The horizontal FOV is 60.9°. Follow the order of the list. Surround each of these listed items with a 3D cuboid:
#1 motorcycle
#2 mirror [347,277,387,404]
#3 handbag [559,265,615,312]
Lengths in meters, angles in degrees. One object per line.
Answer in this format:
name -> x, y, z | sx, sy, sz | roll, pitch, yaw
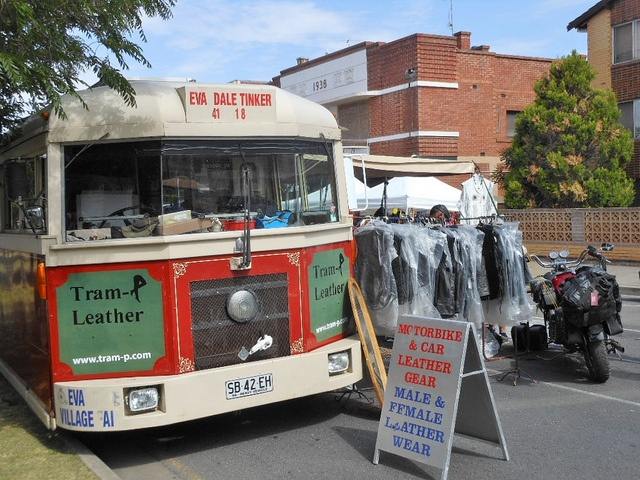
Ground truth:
motorcycle -> 3.959, 0.951, 8.344 | 1.268, 1.725, 2.764 | -6, 4, 12
mirror -> 0.553, 1.189, 6.574 | 0.248, 1.619, 1.189 | -2, 0, -8
handbag -> 3.673, 0.672, 7.399 | 0.796, 0.551, 0.439 | -3, 4, -16
